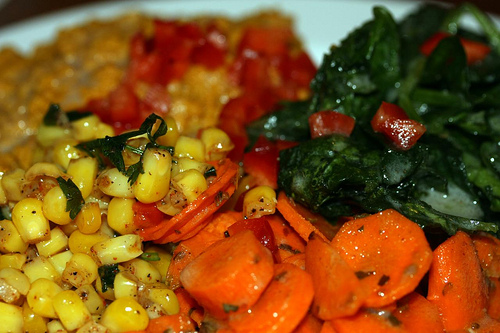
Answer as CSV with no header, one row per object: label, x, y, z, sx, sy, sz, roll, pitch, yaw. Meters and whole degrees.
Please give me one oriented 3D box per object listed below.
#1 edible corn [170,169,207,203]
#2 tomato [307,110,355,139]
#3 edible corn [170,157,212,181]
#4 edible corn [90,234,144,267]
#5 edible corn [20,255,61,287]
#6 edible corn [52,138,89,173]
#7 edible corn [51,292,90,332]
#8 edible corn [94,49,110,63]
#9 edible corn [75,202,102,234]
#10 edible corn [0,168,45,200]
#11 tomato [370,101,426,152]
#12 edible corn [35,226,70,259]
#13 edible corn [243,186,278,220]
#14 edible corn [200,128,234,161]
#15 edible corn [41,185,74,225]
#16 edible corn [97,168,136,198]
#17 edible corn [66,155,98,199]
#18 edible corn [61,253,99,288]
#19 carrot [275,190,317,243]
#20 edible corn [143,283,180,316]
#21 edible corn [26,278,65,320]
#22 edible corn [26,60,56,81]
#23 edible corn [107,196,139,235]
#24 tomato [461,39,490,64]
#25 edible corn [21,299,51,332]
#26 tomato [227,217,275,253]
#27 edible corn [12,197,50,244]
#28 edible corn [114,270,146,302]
edible corn,-0.362,0.093,3.130,0.175,0.164,0.185,40,47,23
tomato,0.529,-0.260,3.377,0.300,0.120,0.164,2,55,3
edible corn,-0.385,-0.002,3.222,0.290,0.170,0.088,-5,37,42
edible corn,-0.762,0.488,3.115,0.298,0.130,0.155,-10,46,-10
edible corn,-1.197,0.609,3.068,0.159,0.141,0.201,-17,69,-51
edible corn,-1.095,-0.073,3.302,0.192,0.131,0.235,-31,45,19
edible corn,-1.003,0.801,2.953,0.144,0.109,0.203,-38,62,-22
edible corn,-1.172,-0.869,4.181,0.096,0.024,0.099,0,80,6
edible corn,-0.945,0.307,3.118,0.157,0.130,0.132,-29,59,-18
edible corn,-1.385,0.109,3.221,0.207,0.077,0.166,-7,87,3
tomato,0.895,-0.232,3.216,0.328,0.110,0.237,37,78,26
edible corn,-1.156,0.456,3.132,0.182,0.156,0.152,-22,29,-6
edible corn,0.055,0.220,3.204,0.184,0.101,0.185,-17,29,22
edible corn,-0.210,-0.126,3.408,0.085,0.159,0.197,-26,47,32
edible corn,-1.124,0.232,3.122,0.130,0.196,0.188,20,43,-4
edible corn,-0.789,0.099,3.143,0.281,0.089,0.195,10,44,-49
edible corn,-0.998,0.055,3.161,0.160,0.064,0.253,10,73,-21
edible corn,-0.963,0.601,3.046,0.185,0.079,0.186,21,82,-6
carrot,0.278,0.310,3.192,0.091,0.088,0.335,-31,46,-5
edible corn,-0.499,0.754,3.039,0.174,0.171,0.080,44,88,-8
edible corn,-1.140,0.736,3.031,0.236,0.106,0.250,-17,36,-5
edible corn,-1.666,-0.766,4.178,0.222,0.023,0.215,-21,58,-13
edible corn,-0.759,0.294,3.207,0.169,0.125,0.227,-21,88,-2
tomato,1.767,-0.907,4.146,0.221,0.257,0.093,2,97,-2
edible corn,-1.216,0.861,3.036,0.173,0.069,0.180,-8,92,13
tomato,0.015,0.410,3.092,0.207,0.086,0.199,6,25,-21
edible corn,-1.313,0.298,3.110,0.197,0.114,0.279,-11,81,-42
edible corn,-0.695,0.672,3.012,0.167,0.071,0.165,-5,86,-11
